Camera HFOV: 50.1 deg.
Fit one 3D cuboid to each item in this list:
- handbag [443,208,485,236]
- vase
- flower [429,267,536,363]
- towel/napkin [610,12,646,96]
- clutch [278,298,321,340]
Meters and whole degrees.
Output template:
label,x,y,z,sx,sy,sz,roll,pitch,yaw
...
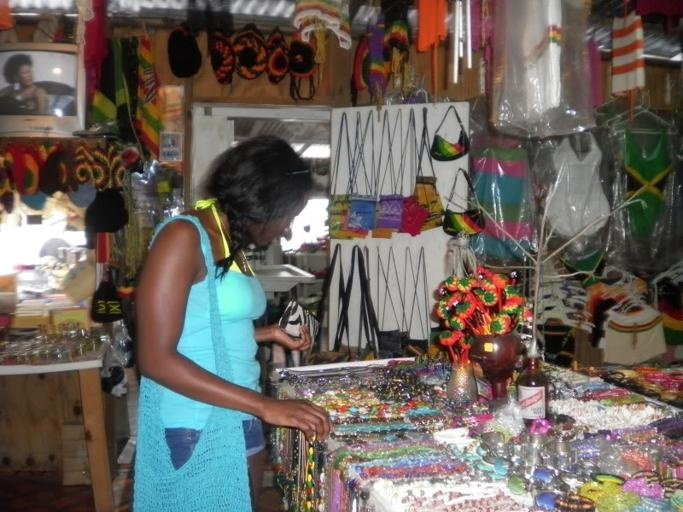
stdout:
label,x,y,z,sx,sy,sz,roll,pitch,yaw
handbag,0.859,-0.243,5.183,0.181,0.155,0.035,-1,-1,8
vase,0.702,0.540,3.539,0.336,0.388,0.274,0,-1,18
flower,0.709,0.258,3.631,0.410,0.550,0.411,1,-2,-39
towel/napkin,1.695,-1.196,4.341,0.174,0.496,0.424,0,5,-1
clutch,-0.217,0.350,3.983,0.070,0.229,0.237,-2,-10,40
